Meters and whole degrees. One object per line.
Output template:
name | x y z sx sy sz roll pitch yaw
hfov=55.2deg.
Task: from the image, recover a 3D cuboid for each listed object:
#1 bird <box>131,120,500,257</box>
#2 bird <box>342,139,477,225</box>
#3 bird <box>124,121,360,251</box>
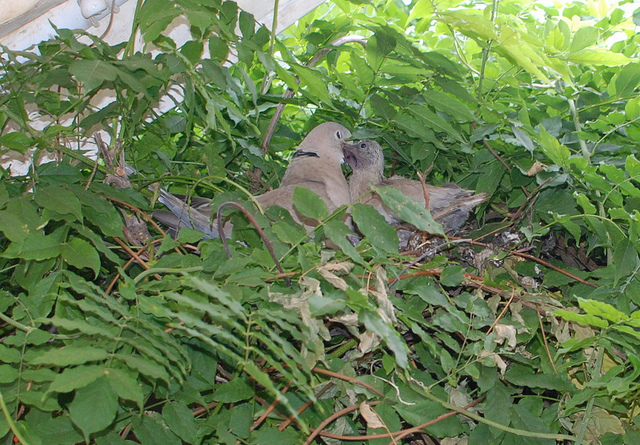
bird | 0.037 -0.061 1.567 0.636 0.335 0.204 20 48 33
bird | 0.262 -0.091 1.730 0.428 0.279 0.201 0 12 -7
bird | -0.217 -0.100 1.704 0.765 0.443 0.272 -5 1 -17
